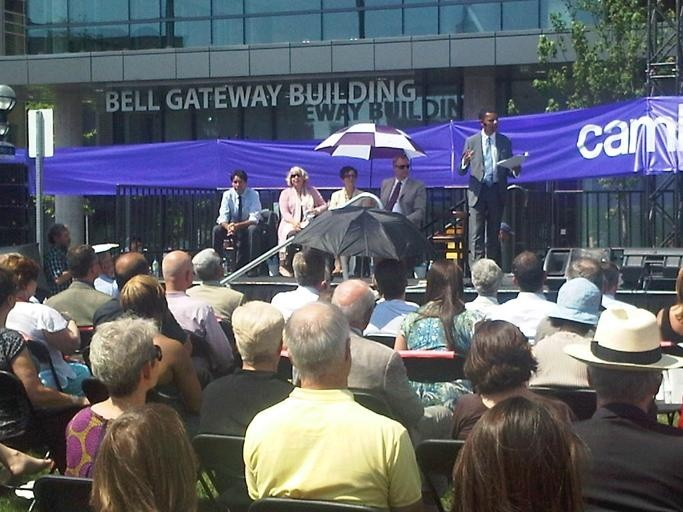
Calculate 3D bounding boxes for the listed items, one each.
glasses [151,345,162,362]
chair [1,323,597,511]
[{"bbox_3d":[-1.911,1.002,13.292,0.086,0.135,0.134,-3,46,-3],"label":"glasses"},{"bbox_3d":[0.141,1.599,12.766,4.169,1.910,1.646,1,1,2],"label":"chair"}]
